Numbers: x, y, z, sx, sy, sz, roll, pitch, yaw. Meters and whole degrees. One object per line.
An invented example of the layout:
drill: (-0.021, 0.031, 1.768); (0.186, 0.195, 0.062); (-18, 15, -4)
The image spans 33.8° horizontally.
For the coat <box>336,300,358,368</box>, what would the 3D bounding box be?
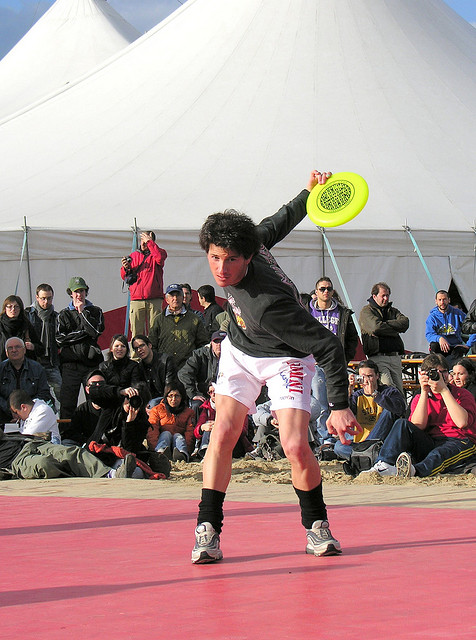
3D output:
coat: (1.175, 0.142, 8.470); (0.225, 0.712, 0.467); (1, -1, 7)

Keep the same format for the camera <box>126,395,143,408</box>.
camera: (-0.875, 0.699, 6.686); (0.117, 0.098, 0.116); (-15, -8, 0)

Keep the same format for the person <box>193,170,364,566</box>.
person: (0.163, 0.256, 3.070); (0.649, 1.402, 0.356); (1, -1, 7)

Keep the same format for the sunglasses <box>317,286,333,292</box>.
sunglasses: (0.960, -0.328, 8.418); (0.157, 0.066, 0.105); (1, -1, -11)

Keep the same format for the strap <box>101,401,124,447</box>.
strap: (-1.113, 0.984, 6.888); (0.183, 0.240, 0.062); (14, -16, 2)

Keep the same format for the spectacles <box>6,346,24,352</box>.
spectacles: (-2.148, 0.283, 7.531); (0.109, 0.054, 0.028); (2, -1, -27)

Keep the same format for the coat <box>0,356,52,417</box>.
coat: (-1.996, 0.634, 7.308); (0.688, 0.562, 0.352); (-1, -6, -15)

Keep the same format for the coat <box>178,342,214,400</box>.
coat: (-0.449, 0.566, 8.575); (0.365, 0.578, 0.353); (2, -1, -14)

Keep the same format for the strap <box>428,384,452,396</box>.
strap: (1.620, 0.572, 6.282); (0.125, 0.110, 0.128); (-24, -25, 37)

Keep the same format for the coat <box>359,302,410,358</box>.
coat: (1.718, 0.116, 9.239); (0.564, 0.620, 0.324); (1, -1, 17)

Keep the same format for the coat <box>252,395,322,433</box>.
coat: (0.467, 0.960, 7.964); (0.699, 0.264, 0.832); (3, -1, -30)

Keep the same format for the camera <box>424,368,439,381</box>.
camera: (1.493, 0.424, 6.047); (0.120, 0.092, 0.081); (1, -1, 23)

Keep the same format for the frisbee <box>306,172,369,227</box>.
frisbee: (0.480, -0.589, 3.804); (0.288, 0.310, 0.386); (1, -1, 4)

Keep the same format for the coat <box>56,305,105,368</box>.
coat: (-1.777, 0.197, 8.772); (0.752, 0.802, 0.484); (1, -25, -6)

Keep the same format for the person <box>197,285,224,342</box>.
person: (-0.344, -0.060, 9.509); (0.305, 0.802, 0.343); (-15, -44, 12)

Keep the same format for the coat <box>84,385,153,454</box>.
coat: (-1.039, 0.852, 6.824); (0.592, 0.540, 0.294); (-6, -5, 7)

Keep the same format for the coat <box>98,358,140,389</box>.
coat: (-1.128, 0.539, 7.744); (0.502, 0.366, 0.247); (-2, 3, 1)

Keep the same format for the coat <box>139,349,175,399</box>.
coat: (-0.896, 0.632, 8.574); (0.458, 0.484, 0.287); (-1, 24, 16)

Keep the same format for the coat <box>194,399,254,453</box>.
coat: (-0.130, 1.050, 7.854); (0.600, 0.519, 0.583); (1, -1, -3)

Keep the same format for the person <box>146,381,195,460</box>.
person: (-0.647, 1.027, 7.855); (0.540, 0.737, 0.838); (1, 2, -6)

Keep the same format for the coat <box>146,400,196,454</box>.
coat: (-0.656, 1.078, 7.934); (0.473, 0.428, 0.578); (8, 16, -7)

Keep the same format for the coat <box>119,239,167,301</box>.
coat: (-1.194, -0.647, 10.111); (0.504, 0.809, 0.477); (1, -1, -3)
